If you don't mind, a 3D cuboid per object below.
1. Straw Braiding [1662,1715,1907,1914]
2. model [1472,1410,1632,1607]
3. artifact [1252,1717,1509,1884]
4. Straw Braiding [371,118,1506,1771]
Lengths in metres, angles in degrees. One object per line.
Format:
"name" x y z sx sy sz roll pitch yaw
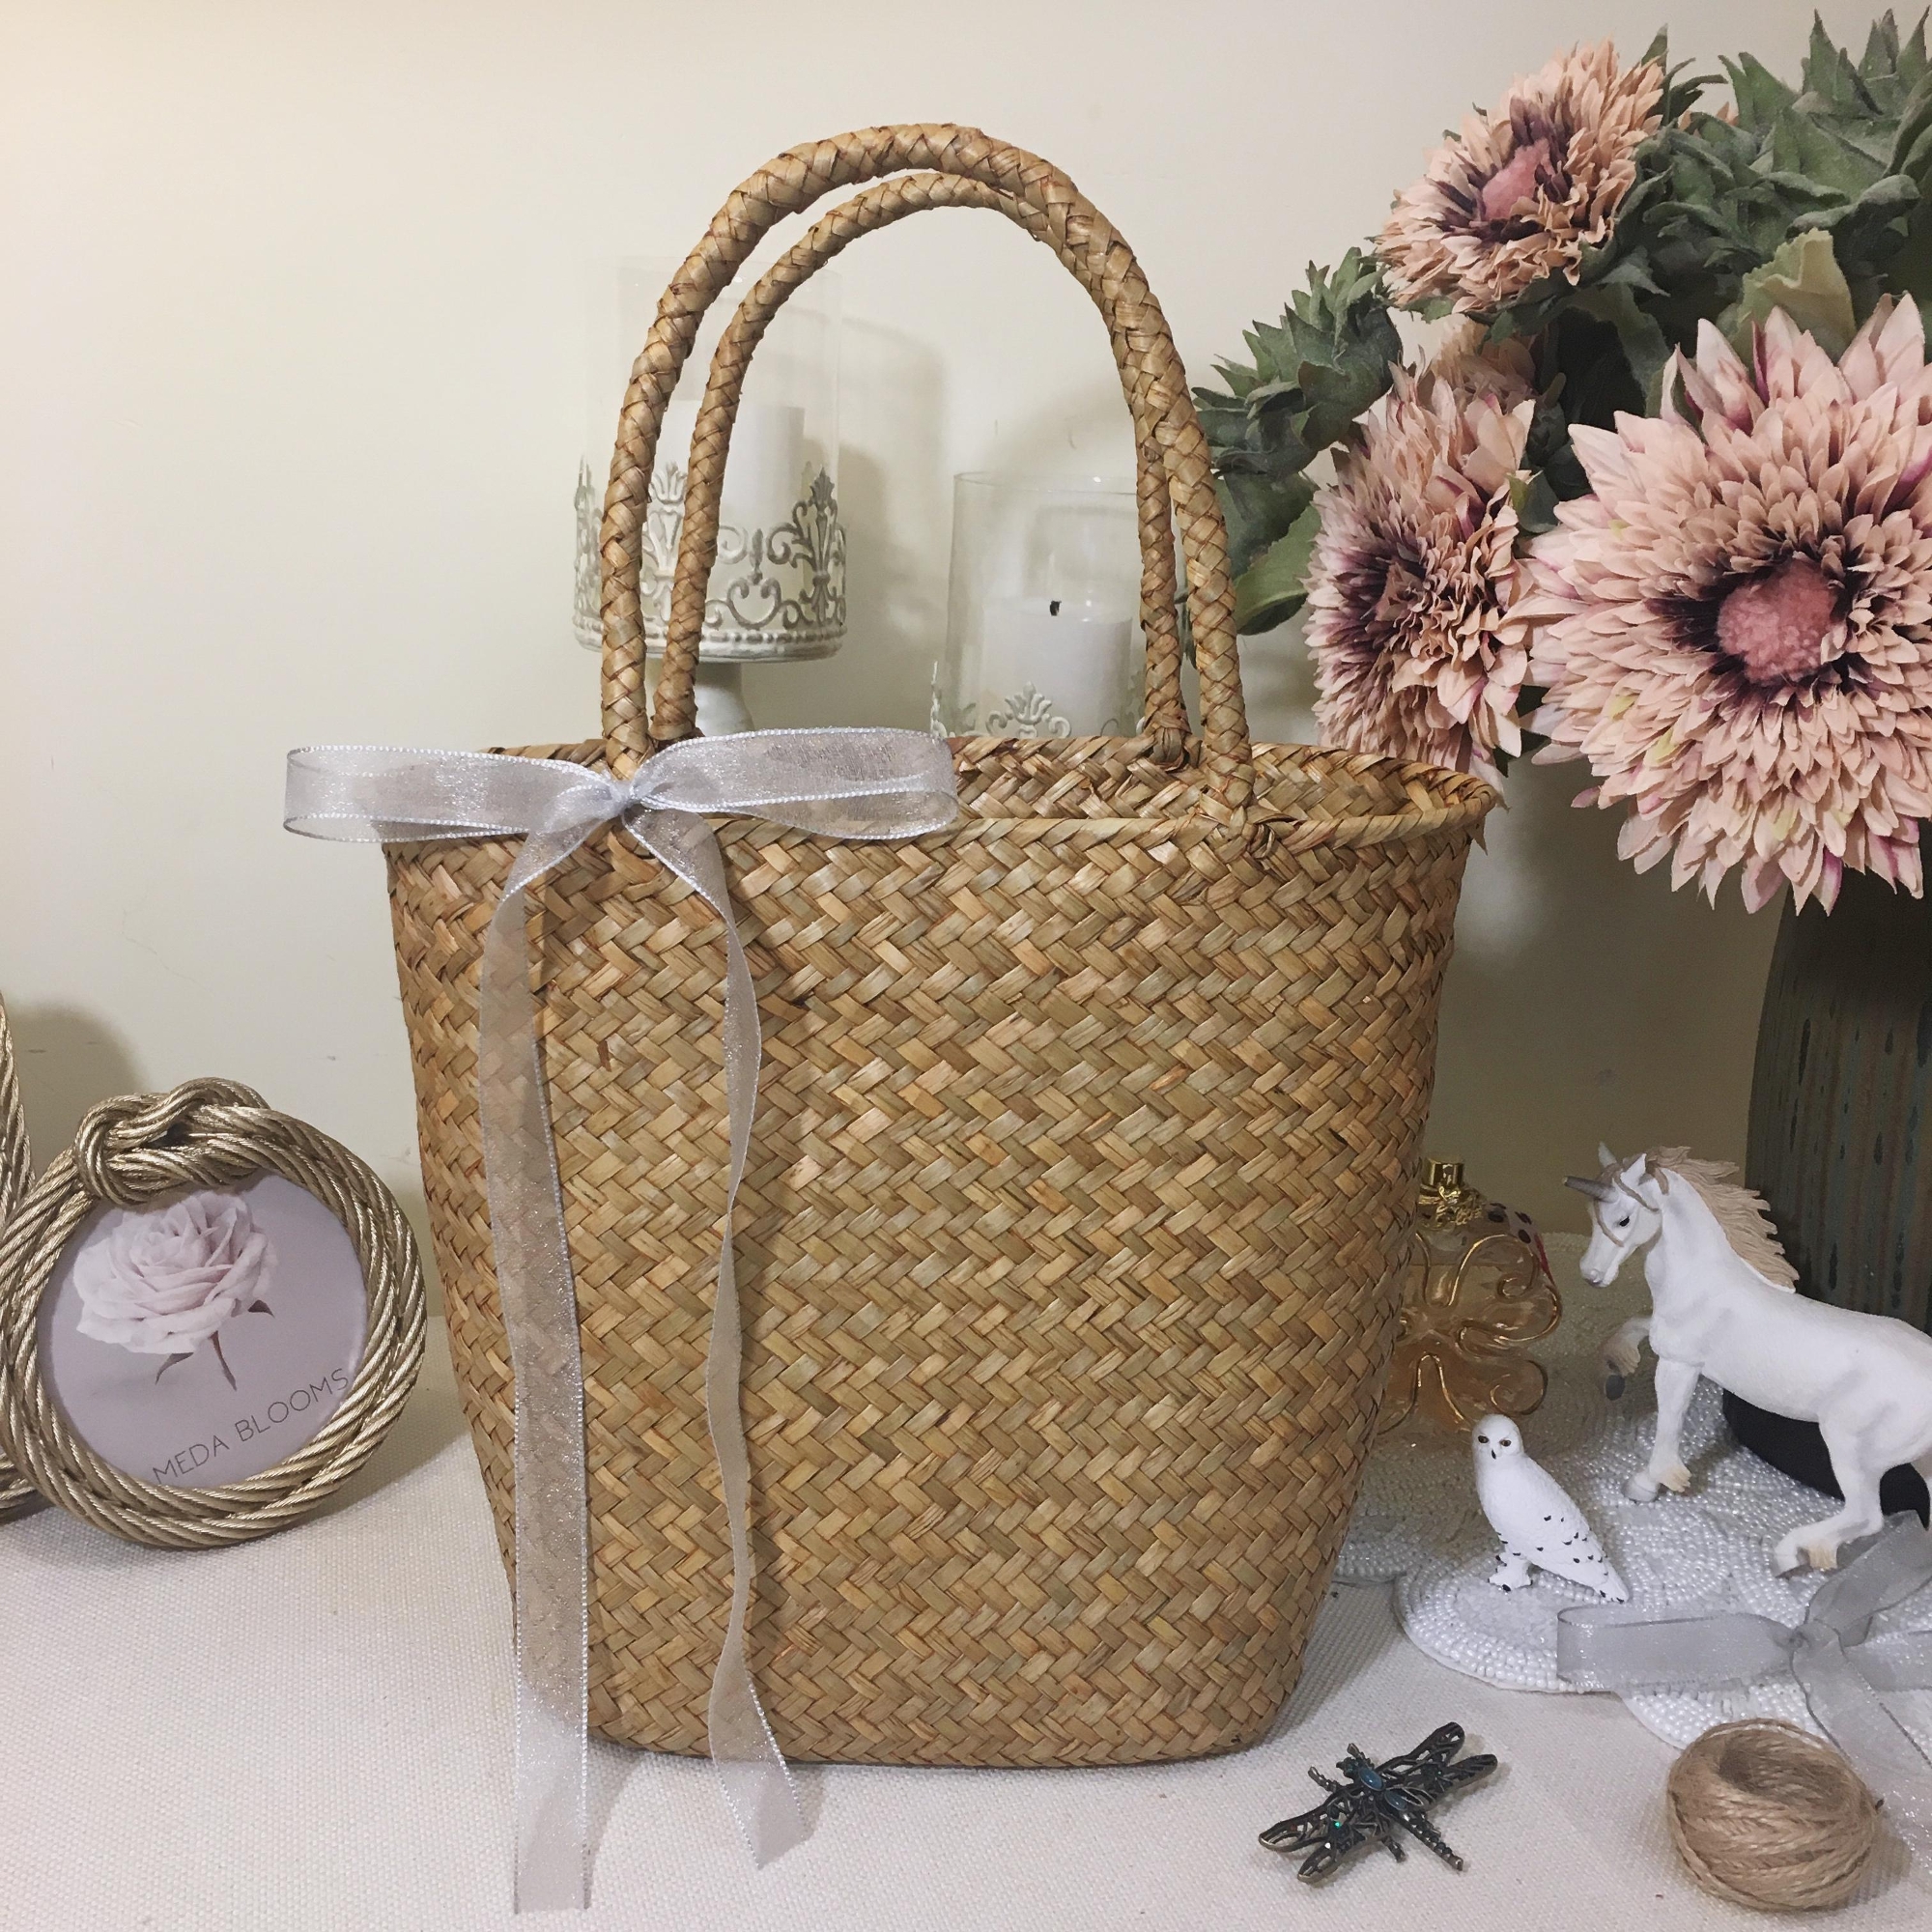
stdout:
"Straw Braiding" 0.351 0.353 1.094 0.090 0.040 0.099 21 7 31
"model" 0.282 0.265 1.238 0.095 0.087 0.051 8 6 10
"artifact" 0.186 0.368 1.115 0.102 0.032 0.070 -32 57 -15
"Straw Braiding" -0.003 -0.014 1.196 0.509 0.725 0.306 -4 14 -4
